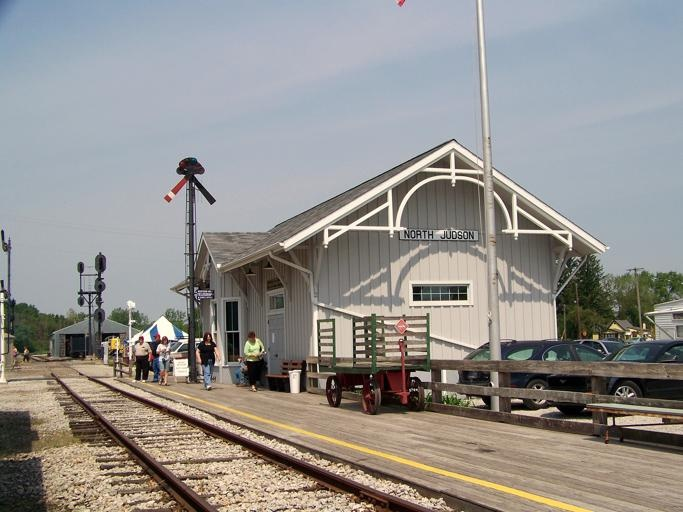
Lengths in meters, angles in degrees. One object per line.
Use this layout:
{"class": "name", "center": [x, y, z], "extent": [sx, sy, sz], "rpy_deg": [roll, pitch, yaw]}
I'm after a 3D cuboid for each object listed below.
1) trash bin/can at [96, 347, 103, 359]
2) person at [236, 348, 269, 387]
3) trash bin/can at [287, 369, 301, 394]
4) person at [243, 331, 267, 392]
{"class": "trash bin/can", "center": [-25.929, 10.403, 75.857], "extent": [0.624, 1.231, 3.643], "rpy_deg": [4, -12, -22]}
{"class": "person", "center": [-2.998, 4.261, 26.009], "extent": [0.905, 1.751, 1.734], "rpy_deg": [2, -2, -19]}
{"class": "trash bin/can", "center": [-1.400, 3.862, 21.610], "extent": [0.447, 0.853, 0.524], "rpy_deg": [0, -1, -4]}
{"class": "person", "center": [-2.797, 3.429, 23.125], "extent": [0.764, 1.881, 0.802], "rpy_deg": [2, 7, 38]}
